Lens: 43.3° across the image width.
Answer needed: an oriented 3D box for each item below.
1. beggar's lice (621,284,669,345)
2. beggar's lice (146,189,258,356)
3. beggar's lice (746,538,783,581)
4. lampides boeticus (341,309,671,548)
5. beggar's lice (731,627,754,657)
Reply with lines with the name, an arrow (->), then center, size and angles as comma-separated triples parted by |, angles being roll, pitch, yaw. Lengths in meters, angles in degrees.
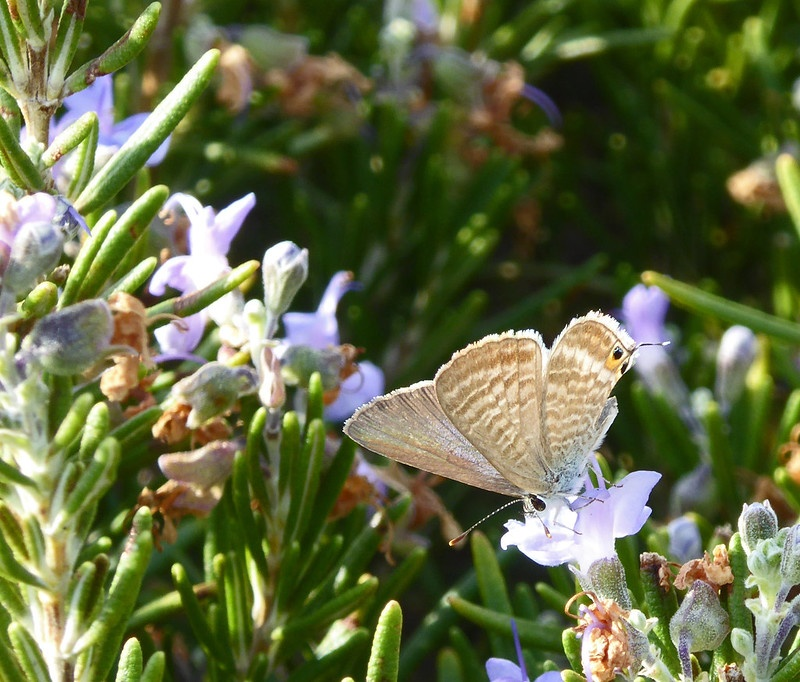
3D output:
beggar's lice -> 0.587, -0.069, 2.420 | 0.136, 0.185, 0.078 | -3, 3, -4
beggar's lice -> -0.322, -0.123, 1.619 | 0.108, 0.377, 0.117 | -4, 11, -15
beggar's lice -> 0.496, 0.293, 1.363 | 0.045, 0.047, 0.032 | 3, 28, -9
lampides boeticus -> 0.251, 0.260, 1.674 | 0.364, 0.548, 0.319 | -10, -9, 40
beggar's lice -> 0.461, 0.404, 1.356 | 0.027, 0.047, 0.015 | -23, 11, -16
